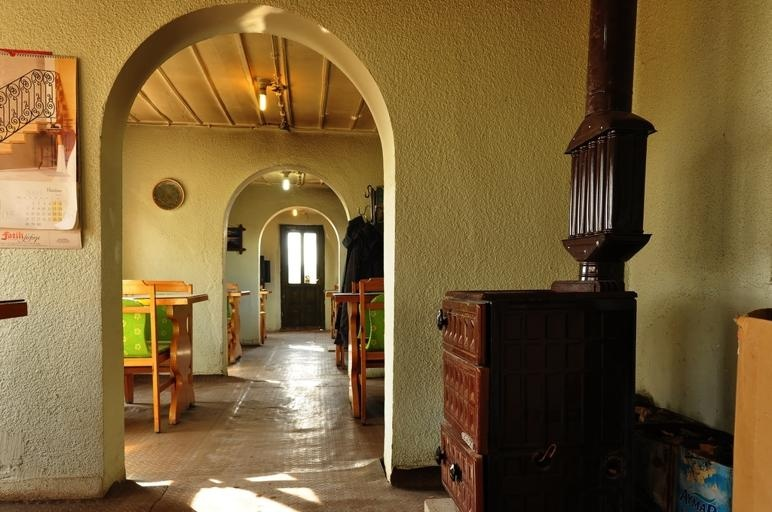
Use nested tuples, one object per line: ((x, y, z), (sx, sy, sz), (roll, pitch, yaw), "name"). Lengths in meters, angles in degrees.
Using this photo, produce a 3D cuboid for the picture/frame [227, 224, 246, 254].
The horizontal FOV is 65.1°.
((-2.560, -0.274, 10.187), (0.240, 0.486, 0.571), (3, 6, 20), "picture/frame")
